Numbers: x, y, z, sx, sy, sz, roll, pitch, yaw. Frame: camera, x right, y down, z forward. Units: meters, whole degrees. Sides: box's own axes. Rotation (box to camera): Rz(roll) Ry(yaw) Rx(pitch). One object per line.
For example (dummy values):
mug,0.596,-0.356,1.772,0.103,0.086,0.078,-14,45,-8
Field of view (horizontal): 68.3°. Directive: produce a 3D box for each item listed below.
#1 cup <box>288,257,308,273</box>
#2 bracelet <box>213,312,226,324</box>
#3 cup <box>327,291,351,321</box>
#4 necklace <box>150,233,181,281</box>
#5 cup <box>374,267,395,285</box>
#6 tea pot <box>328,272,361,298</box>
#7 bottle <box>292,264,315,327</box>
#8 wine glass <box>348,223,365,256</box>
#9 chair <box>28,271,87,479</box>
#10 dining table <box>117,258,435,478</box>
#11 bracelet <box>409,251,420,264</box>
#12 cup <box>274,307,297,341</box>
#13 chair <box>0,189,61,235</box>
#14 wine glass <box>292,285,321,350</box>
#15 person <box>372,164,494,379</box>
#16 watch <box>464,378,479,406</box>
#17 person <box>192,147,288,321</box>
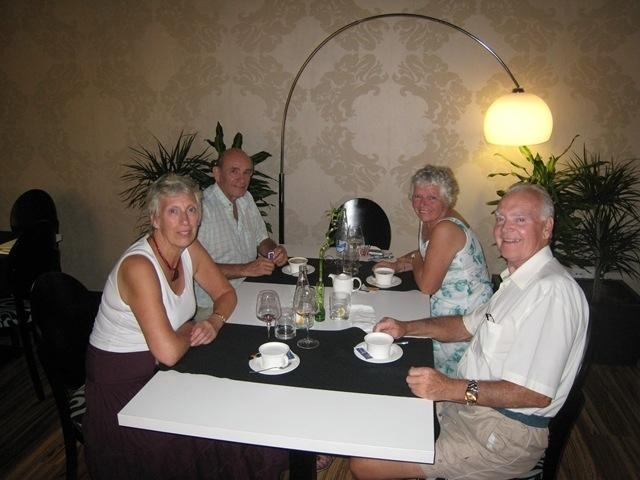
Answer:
cup,-0.141,0.156,3.038,0.089,0.070,0.098,1,0,0
bracelet,-0.495,0.382,2.342,0.017,0.050,0.052,-29,-30,30
cup,0.099,0.343,2.434,0.113,0.138,0.124,1,-2,0
necklace,-0.752,0.071,2.307,0.050,0.215,0.152,-27,-3,32
cup,0.391,0.216,2.886,0.102,0.066,0.086,-18,-14,42
tea pot,0.152,0.260,2.702,0.149,0.110,0.116,2,1,8
bottle,-0.089,0.276,2.349,0.156,0.316,0.163,0,3,0
wine glass,0.252,0.005,3.365,0.134,0.252,0.138,7,26,27
chair,-1.284,0.731,2.411,0.252,1.144,0.362,-2,10,-14
dining table,-0.123,0.607,1.996,1.198,0.237,0.627,2,9,8
bracelet,0.606,0.109,2.984,0.068,0.087,0.096,1,-6,3
cup,-0.177,0.393,2.344,0.111,0.158,0.185,-2,4,-9
chair,-2.556,-0.260,4.208,0.576,0.370,0.173,6,11,31
wine glass,-0.065,0.373,2.334,0.123,0.290,0.119,-6,8,-32
person,0.691,0.257,2.910,0.624,1.317,0.531,-2,15,6
watch,0.622,0.622,1.934,0.052,0.089,0.078,2,21,13
person,-0.587,0.018,3.424,0.646,1.290,0.739,15,20,39
